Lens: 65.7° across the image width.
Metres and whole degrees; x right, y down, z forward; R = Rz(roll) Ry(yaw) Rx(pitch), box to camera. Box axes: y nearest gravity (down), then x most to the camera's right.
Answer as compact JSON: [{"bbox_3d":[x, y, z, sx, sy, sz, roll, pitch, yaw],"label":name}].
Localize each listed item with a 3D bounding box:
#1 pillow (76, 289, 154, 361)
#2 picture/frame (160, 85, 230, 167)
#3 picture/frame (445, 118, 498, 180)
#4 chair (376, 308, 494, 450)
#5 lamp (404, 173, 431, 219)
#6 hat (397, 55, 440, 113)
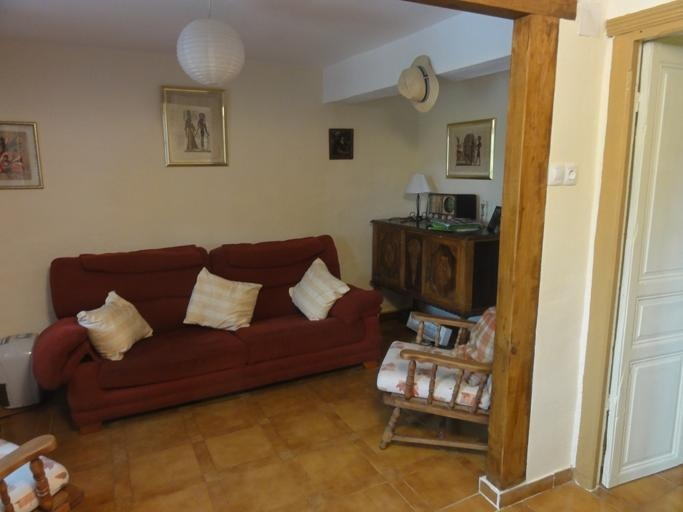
[{"bbox_3d":[-1.611,0.378,3.857,0.375,0.426,0.657,1,11,13],"label":"pillow"},{"bbox_3d":[-1.306,-1.157,4.624,0.701,0.829,0.058,-3,10,-31],"label":"picture/frame"},{"bbox_3d":[1.233,-1.012,4.954,0.028,0.571,0.586,-4,11,-30],"label":"picture/frame"},{"bbox_3d":[0.575,0.651,3.744,0.919,1.061,0.799,5,19,12],"label":"chair"},{"bbox_3d":[0.785,-0.617,5.392,0.243,0.442,0.442,1,14,9],"label":"lamp"},{"bbox_3d":[0.535,-1.223,3.731,0.261,0.369,0.191,0,14,5],"label":"hat"}]
